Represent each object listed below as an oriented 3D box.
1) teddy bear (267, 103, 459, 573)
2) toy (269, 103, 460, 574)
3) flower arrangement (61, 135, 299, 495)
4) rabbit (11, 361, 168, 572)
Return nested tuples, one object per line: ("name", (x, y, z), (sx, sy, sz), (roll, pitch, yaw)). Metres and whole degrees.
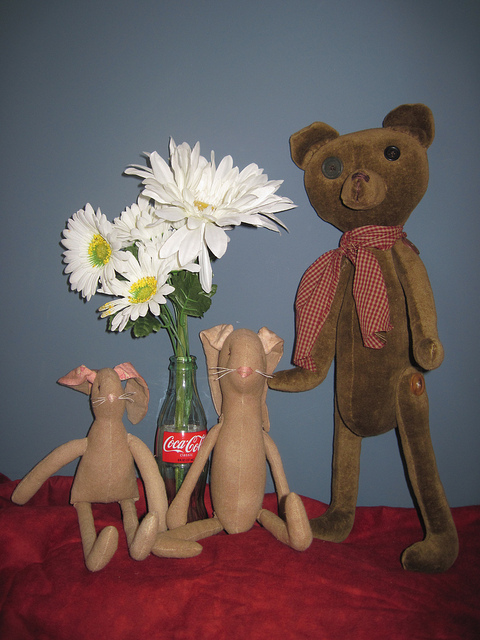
("teddy bear", (0.243, 0.031, 1.512), (0.434, 0.922, 0.284), (-2, -5, 36))
("toy", (0.255, 0.035, 1.526), (0.459, 0.951, 0.292), (0, -3, 32))
("flower arrangement", (-0.120, -0.006, 1.436), (0.434, 0.672, 0.254), (2, 14, 3))
("rabbit", (-0.245, 0.273, 1.404), (0.301, 0.272, 0.365), (-5, 38, -22))
